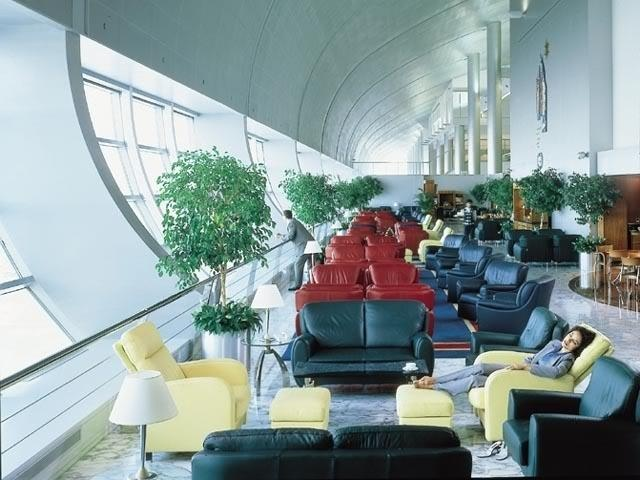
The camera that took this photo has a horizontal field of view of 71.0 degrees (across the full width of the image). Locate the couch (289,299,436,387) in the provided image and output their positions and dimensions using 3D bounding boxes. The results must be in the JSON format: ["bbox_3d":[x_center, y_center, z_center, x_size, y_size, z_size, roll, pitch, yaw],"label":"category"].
[{"bbox_3d":[0.582,1.415,6.198,1.911,0.836,1.558,-3,9,0],"label":"couch"}]

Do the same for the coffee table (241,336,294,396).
[{"bbox_3d":[-0.753,1.666,6.265,0.709,0.808,0.700,-1,-1,-8],"label":"coffee table"}]

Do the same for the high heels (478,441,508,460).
[{"bbox_3d":[1.775,2.098,4.483,0.387,0.163,0.128,5,-4,-29],"label":"high heels"}]

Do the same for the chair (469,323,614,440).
[{"bbox_3d":[2.451,1.427,5.132,1.498,1.266,1.151,0,-2,2],"label":"chair"}]

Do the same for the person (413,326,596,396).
[{"bbox_3d":[2.098,1.389,5.134,1.591,0.774,0.911,-1,0,8],"label":"person"}]

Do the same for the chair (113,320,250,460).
[{"bbox_3d":[-1.298,1.529,5.014,1.332,1.467,1.217,-1,2,-2],"label":"chair"}]

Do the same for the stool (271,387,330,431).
[{"bbox_3d":[-0.207,1.684,4.563,0.428,0.233,0.488,1,14,11],"label":"stool"}]

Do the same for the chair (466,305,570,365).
[{"bbox_3d":[2.645,1.270,6.103,0.974,1.003,0.927,0,1,10],"label":"chair"}]
